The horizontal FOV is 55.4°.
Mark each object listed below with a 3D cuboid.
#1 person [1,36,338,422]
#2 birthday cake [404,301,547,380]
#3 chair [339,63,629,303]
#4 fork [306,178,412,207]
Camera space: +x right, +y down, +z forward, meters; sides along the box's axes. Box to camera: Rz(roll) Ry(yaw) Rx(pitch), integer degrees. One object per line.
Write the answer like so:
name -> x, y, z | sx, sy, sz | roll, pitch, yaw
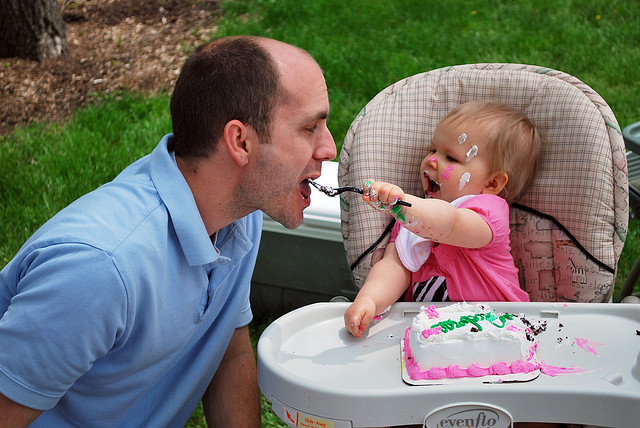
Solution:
person -> -0.577, 0.141, 2.251 | 0.555, 1.233, 1.394 | 27, 45, 35
birthday cake -> 0.552, 0.446, 2.338 | 0.488, 0.229, 0.439 | -5, 15, -2
chair -> 0.765, -0.194, 2.840 | 0.751, 1.477, 0.659 | 1, 6, 6
fork -> 0.123, -0.082, 2.379 | 0.432, 0.066, 0.067 | 12, 4, 15
